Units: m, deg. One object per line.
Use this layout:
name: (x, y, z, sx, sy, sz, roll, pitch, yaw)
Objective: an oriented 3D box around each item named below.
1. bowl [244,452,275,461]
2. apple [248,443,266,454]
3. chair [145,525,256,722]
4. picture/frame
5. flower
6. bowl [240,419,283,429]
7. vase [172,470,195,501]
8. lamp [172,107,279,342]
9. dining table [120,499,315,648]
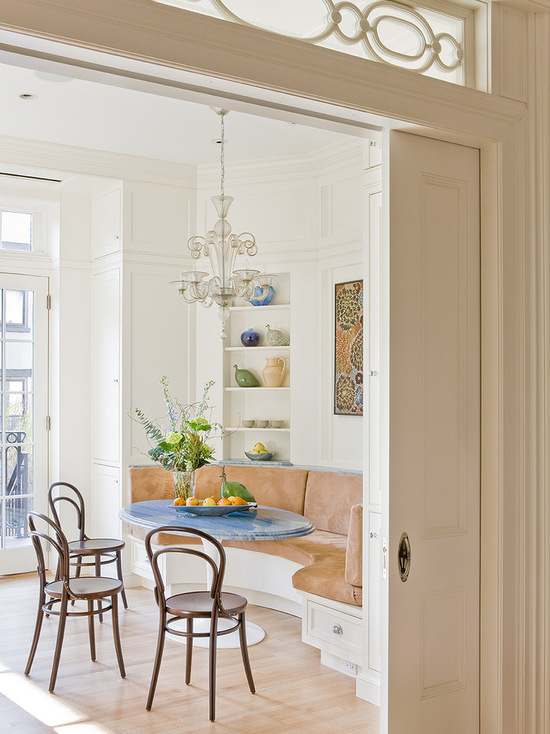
bowl: (-0.117, 0.721, 5.040, 0.230, 0.071, 0.119, 1, -5, -5)
apple: (-0.129, 0.665, 5.040, 0.091, 0.041, 0.094, 7, -17, -28)
chair: (-0.355, 1.169, 2.984, 0.427, 0.870, 0.444, -6, -7, 37)
picture/frame: (0.523, -0.140, 4.521, 0.062, 0.952, 0.280, 3, -5, -28)
flower: (-0.610, 0.523, 4.135, 0.507, 0.770, 0.446, -11, -4, 21)
bowl: (-0.097, 0.467, 5.099, 0.383, 0.070, 0.168, 0, -5, 8)
vase: (-0.600, 0.768, 4.114, 0.169, 0.261, 0.182, 0, -2, -13)
lamp: (-0.354, -1.004, 4.236, 0.568, 1.436, 0.579, 0, 3, 4)
dining table: (-0.519, 1.314, 4.359, 1.044, 0.633, 0.801, -1, -2, 1)
